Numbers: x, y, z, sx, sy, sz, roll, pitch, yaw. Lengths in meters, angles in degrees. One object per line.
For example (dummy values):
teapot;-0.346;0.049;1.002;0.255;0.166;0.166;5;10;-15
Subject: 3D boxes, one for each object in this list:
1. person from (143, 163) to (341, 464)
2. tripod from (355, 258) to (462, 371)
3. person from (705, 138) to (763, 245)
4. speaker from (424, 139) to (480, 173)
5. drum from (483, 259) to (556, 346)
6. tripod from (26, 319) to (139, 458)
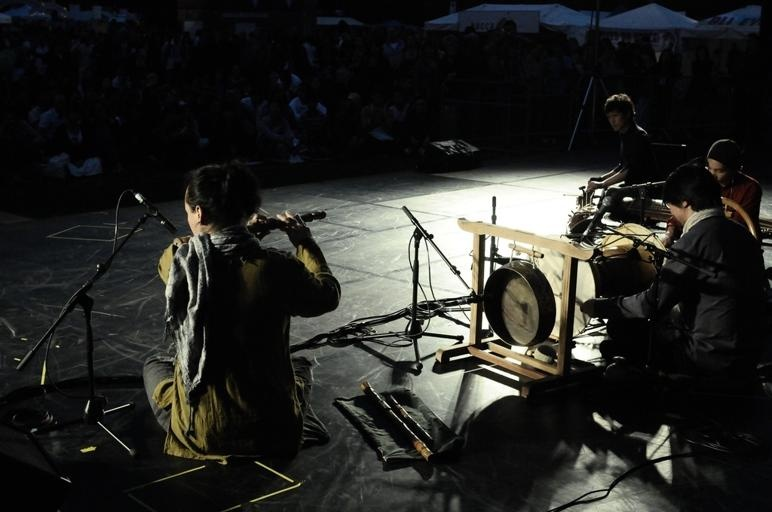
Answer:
person;-0.851;0.403;4.115;1.106;1.870;1.234;2;4;32
tripod;0.254;0.570;5.647;0.799;0.913;1.050;3;-8;-13
person;3.400;-0.586;6.056;0.660;1.065;0.676;-5;20;24
speaker;1.507;-2.294;14.026;1.482;0.650;0.625;-16;20;-39
drum;1.096;0.398;5.038;0.244;0.704;0.654;-14;20;-27
tripod;-2.317;1.037;4.671;0.844;0.778;0.730;-11;20;-40
